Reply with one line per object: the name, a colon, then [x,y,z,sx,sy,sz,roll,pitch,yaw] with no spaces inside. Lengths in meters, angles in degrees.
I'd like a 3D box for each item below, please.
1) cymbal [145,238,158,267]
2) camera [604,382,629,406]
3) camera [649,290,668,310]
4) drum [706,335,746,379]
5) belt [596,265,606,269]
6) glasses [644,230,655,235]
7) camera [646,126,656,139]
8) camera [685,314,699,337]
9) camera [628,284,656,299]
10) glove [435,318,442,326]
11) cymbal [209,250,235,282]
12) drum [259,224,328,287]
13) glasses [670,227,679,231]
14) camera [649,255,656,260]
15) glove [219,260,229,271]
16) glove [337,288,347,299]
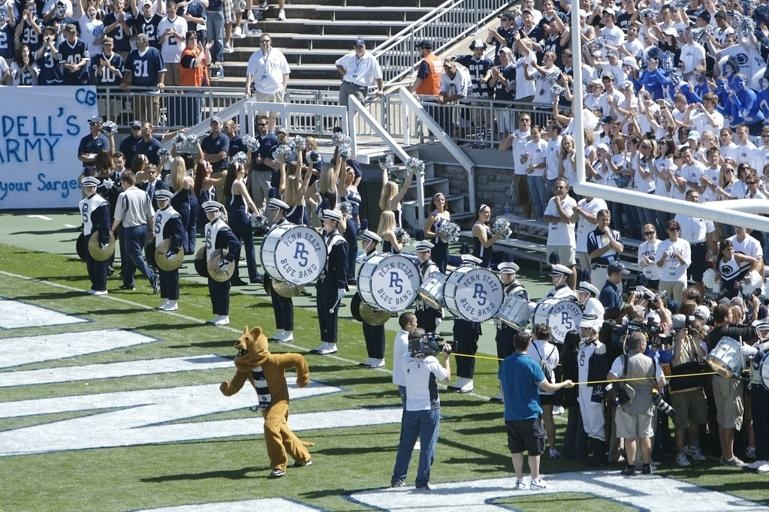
cymbal: [-4.584,-0.083,38.943,0.117,0.453,0.465,8,-8,19]
camera: [3.834,2.252,32.124,0.417,0.371,0.302,-3,5,-5]
camera: [4.725,0.730,34.067,0.161,0.287,0.395,-27,41,-26]
drum: [5.639,1.685,32.408,0.635,0.598,0.632,44,-20,-11]
belt: [4.107,0.225,37.210,0.170,0.096,0.260,2,2,-2]
glasses: [4.859,-0.431,36.338,0.098,0.088,0.268,1,2,-26]
camera: [5.218,-2.374,38.479,0.244,0.062,0.240,-1,39,30]
camera: [5.152,1.171,32.955,0.168,0.324,0.297,1,2,-26]
camera: [4.438,0.638,33.623,0.346,0.149,0.214,13,17,-4]
glove: [0.972,1.184,35.052,0.105,0.115,0.130,2,29,4]
cymbal: [-3.083,0.205,37.278,0.514,0.615,0.227,2,2,-6]
drum: [-1.648,-0.012,35.965,0.937,1.306,0.802,-1,0,44]
glasses: [5.317,-0.491,36.169,0.165,0.073,0.068,2,2,-6]
camera: [4.922,0.042,36.232,0.097,0.069,0.094,4,-8,-20]
glove: [-3.021,0.191,37.203,0.147,0.170,0.185,3,15,-9]
glove: [-0.777,0.682,36.167,0.144,0.166,0.175,0,22,5]
